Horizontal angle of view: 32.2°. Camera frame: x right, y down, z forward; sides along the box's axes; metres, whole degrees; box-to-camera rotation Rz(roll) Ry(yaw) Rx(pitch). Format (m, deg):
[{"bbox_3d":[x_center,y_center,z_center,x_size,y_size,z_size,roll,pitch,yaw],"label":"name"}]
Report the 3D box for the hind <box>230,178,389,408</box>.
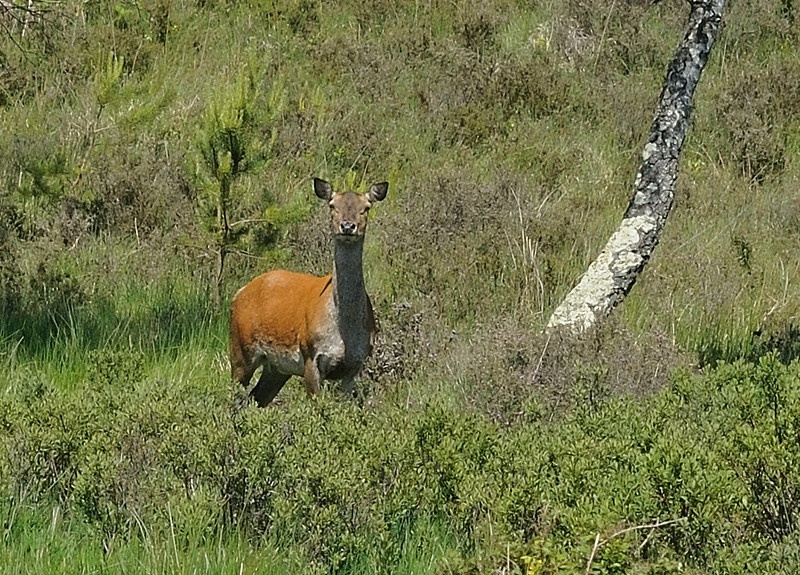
[{"bbox_3d":[-1.020,0.189,15.245,0.688,2.769,1.747,0,13,-44],"label":"hind"}]
